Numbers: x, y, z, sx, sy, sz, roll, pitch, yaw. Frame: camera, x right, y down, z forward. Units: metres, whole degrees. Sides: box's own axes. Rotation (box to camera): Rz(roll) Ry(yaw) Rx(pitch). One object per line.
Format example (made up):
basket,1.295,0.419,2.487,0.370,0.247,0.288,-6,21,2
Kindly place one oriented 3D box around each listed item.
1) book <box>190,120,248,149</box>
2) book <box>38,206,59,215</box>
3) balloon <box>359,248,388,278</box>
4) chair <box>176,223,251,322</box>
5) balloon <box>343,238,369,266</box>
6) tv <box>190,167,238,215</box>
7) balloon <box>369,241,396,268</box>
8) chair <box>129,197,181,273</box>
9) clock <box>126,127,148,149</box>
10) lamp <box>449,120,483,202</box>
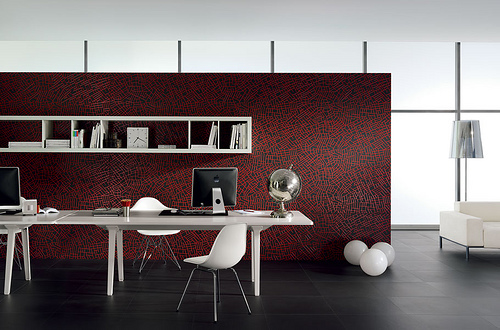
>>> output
book,-0.358,-0.513,7.318,0.974,0.464,0.422,-1,5,4
book,-2.962,0.675,6.282,0.212,0.048,0.139,4,3,-12
balloon,1.945,1.526,6.719,0.433,0.471,0.425,1,8,-3
chair,-0.500,1.392,5.646,0.813,1.118,0.876,5,-10,-36
balloon,1.703,1.422,7.007,0.413,0.441,0.397,2,-3,-2
tv,-0.524,0.377,6.241,0.734,0.573,0.229,1,2,-8
balloon,2.206,1.415,6.947,0.406,0.437,0.393,-2,0,-13
chair,-1.556,1.060,6.905,0.881,1.033,0.797,-1,3,-23
clock,-1.893,-0.442,7.156,0.372,0.339,0.120,1,-6,-3
lamp,4.302,-0.033,8.544,0.569,1.757,1.183,6,12,26
